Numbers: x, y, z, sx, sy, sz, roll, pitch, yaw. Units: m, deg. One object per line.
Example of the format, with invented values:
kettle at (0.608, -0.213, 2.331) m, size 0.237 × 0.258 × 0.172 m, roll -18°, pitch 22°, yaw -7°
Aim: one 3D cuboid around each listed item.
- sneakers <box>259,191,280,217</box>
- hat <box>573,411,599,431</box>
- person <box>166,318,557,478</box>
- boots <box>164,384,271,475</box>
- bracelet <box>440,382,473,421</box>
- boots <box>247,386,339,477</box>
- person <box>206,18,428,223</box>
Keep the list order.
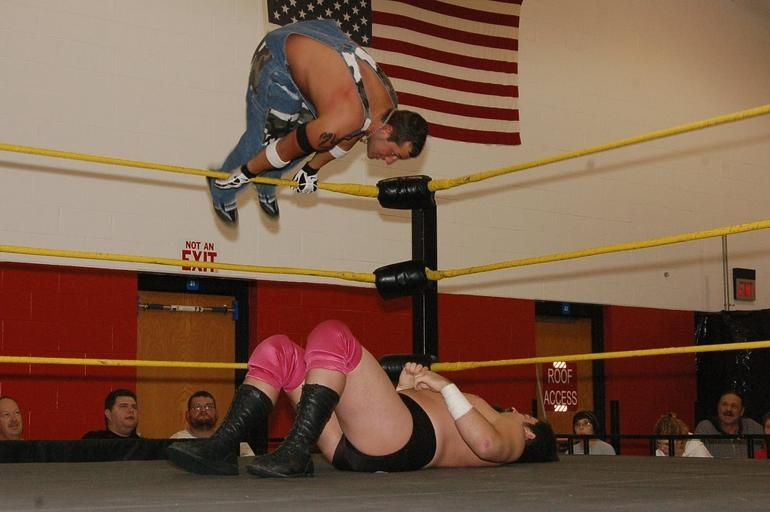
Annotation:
sneakers at (-0.758, -0.347, 6.255) m, size 0.119 × 0.157 × 0.357 m, roll -6°, pitch 12°, yaw -20°
hat at (1.681, 1.396, 8.035) m, size 0.132 × 0.163 × 0.185 m, roll -1°, pitch -14°, yaw 4°
person at (0.027, 0.901, 5.075) m, size 1.682 × 0.664 × 0.823 m, roll 10°, pitch -23°, yaw -25°
boots at (-0.829, 0.857, 4.812) m, size 0.388 × 0.463 × 0.248 m, roll 23°, pitch -9°, yaw -20°
bracelet at (0.366, 0.757, 4.889) m, size 0.122 × 0.202 × 0.085 m, roll -28°, pitch -23°, yaw -7°
boots at (-0.429, 0.933, 4.891) m, size 0.522 × 0.597 × 0.287 m, roll 7°, pitch -10°, yaw -7°
person at (-0.404, -0.888, 5.674) m, size 1.175 × 1.003 × 0.574 m, roll -2°, pitch -5°, yaw 27°
